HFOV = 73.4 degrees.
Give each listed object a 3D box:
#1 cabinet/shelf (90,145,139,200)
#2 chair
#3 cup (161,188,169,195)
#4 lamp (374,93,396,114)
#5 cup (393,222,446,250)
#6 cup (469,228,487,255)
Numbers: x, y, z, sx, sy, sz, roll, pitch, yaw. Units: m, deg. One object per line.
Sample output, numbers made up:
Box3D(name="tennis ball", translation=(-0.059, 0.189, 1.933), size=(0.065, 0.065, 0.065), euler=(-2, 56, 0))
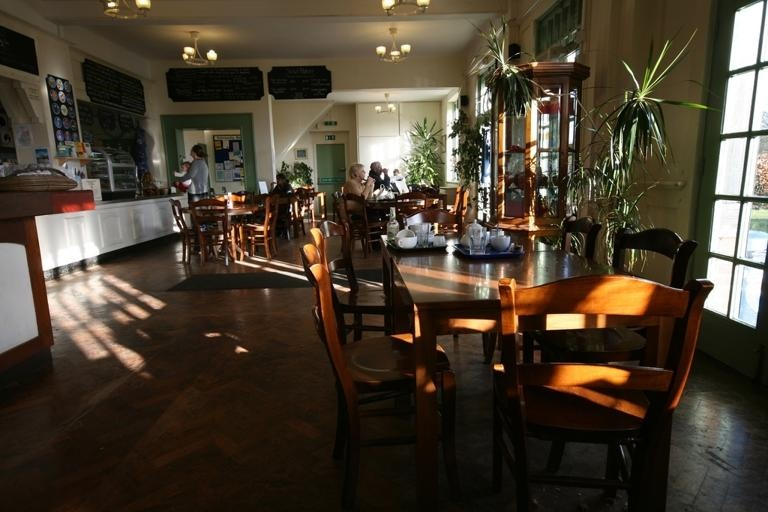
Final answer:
Box3D(name="cabinet/shelf", translation=(-4.603, -1.411, 8.777), size=(0.570, 0.836, 1.269), euler=(-5, 14, -14))
Box3D(name="chair", translation=(0.691, 0.566, 3.159), size=(1.912, 1.209, 1.447), euler=(1, 4, 7))
Box3D(name="cup", translation=(-4.173, -1.228, 9.811), size=(0.142, 0.133, 0.182), euler=(0, -3, -7))
Box3D(name="lamp", translation=(0.021, -3.613, 12.297), size=(0.485, 0.394, 0.521), euler=(4, 13, 11))
Box3D(name="cup", translation=(0.218, -0.142, 3.732), size=(0.212, 0.104, 0.275), euler=(-2, 10, -16))
Box3D(name="cup", translation=(0.620, -0.100, 3.427), size=(0.151, 0.176, 0.149), euler=(-2, 7, 0))
